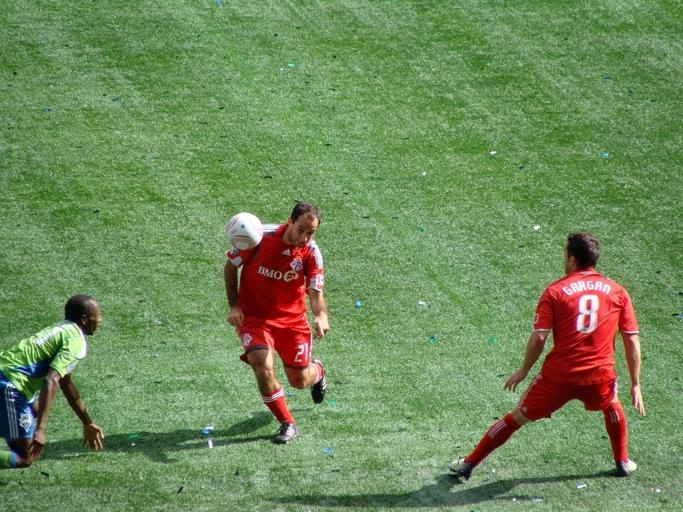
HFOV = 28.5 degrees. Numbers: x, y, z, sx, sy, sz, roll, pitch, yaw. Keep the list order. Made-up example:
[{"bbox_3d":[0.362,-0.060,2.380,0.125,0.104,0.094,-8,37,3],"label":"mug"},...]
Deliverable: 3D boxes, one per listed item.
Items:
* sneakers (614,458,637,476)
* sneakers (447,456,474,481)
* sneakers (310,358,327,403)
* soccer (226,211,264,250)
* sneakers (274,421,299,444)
[{"bbox_3d":[3.248,2.427,15.274,0.114,0.137,0.298,4,18,37],"label":"sneakers"},{"bbox_3d":[1.370,2.447,15.203,0.173,0.211,0.304,-11,28,-34],"label":"sneakers"},{"bbox_3d":[-0.231,1.516,16.075,0.168,0.512,0.218,3,30,14],"label":"sneakers"},{"bbox_3d":[-1.109,-0.268,15.671,0.395,0.410,0.398,6,1,-9],"label":"soccer"},{"bbox_3d":[-0.627,2.074,15.596,0.152,0.130,0.301,3,9,10],"label":"sneakers"}]
